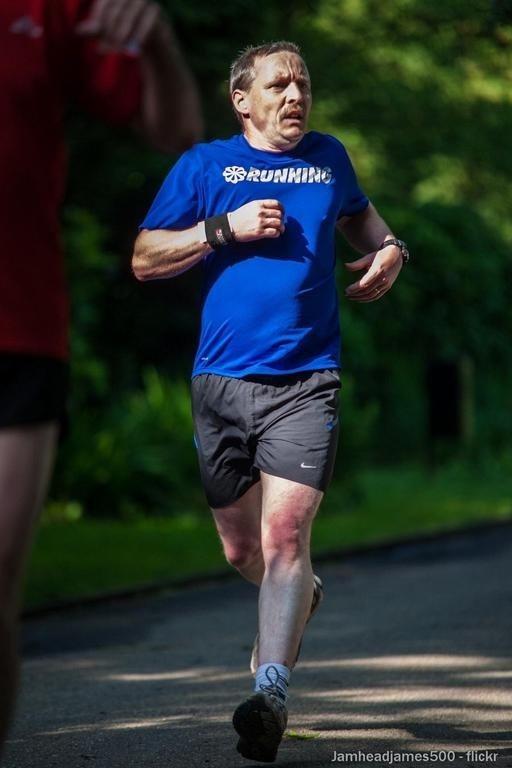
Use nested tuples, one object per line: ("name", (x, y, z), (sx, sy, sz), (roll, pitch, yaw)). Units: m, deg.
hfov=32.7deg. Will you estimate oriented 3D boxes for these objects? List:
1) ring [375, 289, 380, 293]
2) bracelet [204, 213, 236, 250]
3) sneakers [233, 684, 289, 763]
("ring", (0.427, -0.328, 3.088), (0.012, 0.004, 0.014), (-3, 69, 19))
("bracelet", (-0.114, -0.461, 2.623), (0.099, 0.036, 0.091), (-22, 68, 21))
("sneakers", (0.007, 0.927, 2.383), (0.137, 0.238, 0.141), (1, 47, -2))
